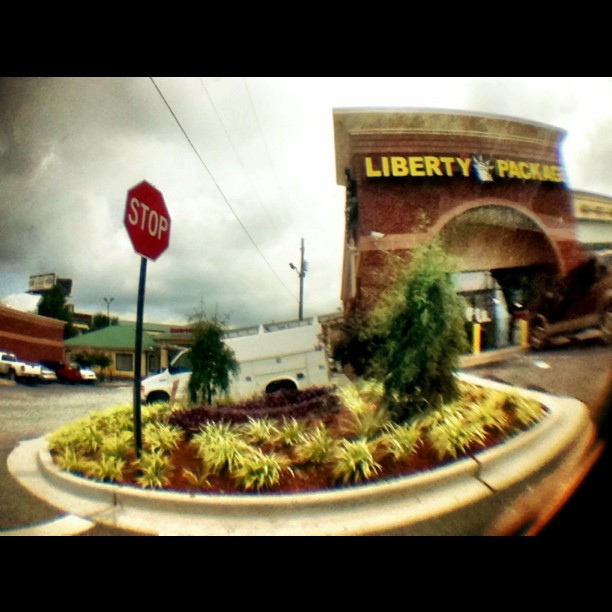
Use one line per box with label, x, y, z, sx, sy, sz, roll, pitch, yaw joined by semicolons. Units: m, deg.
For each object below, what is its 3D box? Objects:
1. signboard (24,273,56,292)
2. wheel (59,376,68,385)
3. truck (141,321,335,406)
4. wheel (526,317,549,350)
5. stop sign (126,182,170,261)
signboard;-3.093;-0.272;5.380;0.257;0.200;0.215;-3;-4;29
wheel;-2.936;0.911;5.559;0.089;0.094;0.022;4;5;-10
truck;-0.897;0.716;6.248;2.896;1.214;0.961;-6;-9;0
wheel;2.909;0.353;5.747;0.266;0.387;0.103;1;-8;2
stop sign;-1.654;-0.904;4.837;0.065;0.821;0.585;-3;-4;24
